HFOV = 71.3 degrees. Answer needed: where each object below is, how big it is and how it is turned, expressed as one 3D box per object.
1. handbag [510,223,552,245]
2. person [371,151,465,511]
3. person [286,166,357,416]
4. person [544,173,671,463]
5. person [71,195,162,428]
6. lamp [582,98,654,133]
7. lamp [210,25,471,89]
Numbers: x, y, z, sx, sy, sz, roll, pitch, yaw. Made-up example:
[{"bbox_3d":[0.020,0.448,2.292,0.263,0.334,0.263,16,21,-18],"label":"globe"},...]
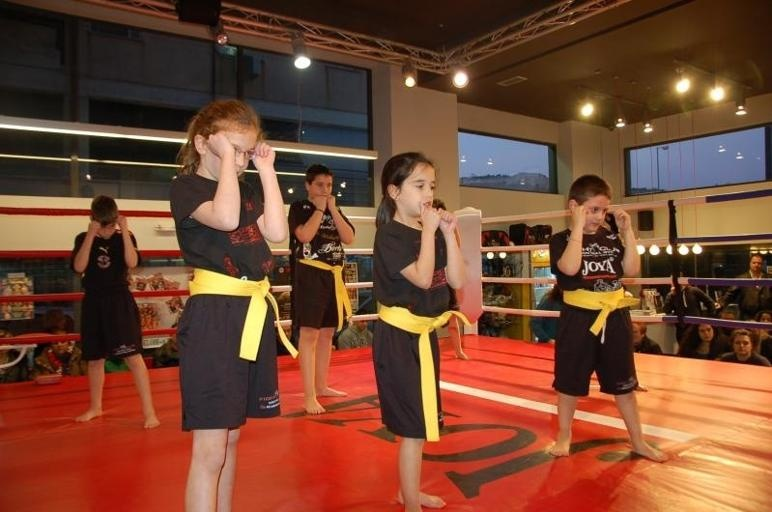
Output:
[{"bbox_3d":[2.699,-0.424,10.159,0.421,0.287,0.631,0,-4,5],"label":"handbag"},{"bbox_3d":[0.167,0.411,3.200,0.552,2.104,0.513,2,4,10],"label":"person"},{"bbox_3d":[-0.533,0.214,4.485,0.535,1.968,0.681,-1,5,-21],"label":"person"},{"bbox_3d":[1.503,0.434,3.667,0.730,1.934,0.571,1,3,18],"label":"person"},{"bbox_3d":[-2.150,0.400,4.242,0.844,1.753,0.456,3,5,29],"label":"person"},{"bbox_3d":[4.570,-2.782,10.819,1.331,0.435,1.901,3,5,24],"label":"lamp"},{"bbox_3d":[-0.387,-2.970,7.898,0.489,0.556,2.749,1,9,40],"label":"lamp"}]
